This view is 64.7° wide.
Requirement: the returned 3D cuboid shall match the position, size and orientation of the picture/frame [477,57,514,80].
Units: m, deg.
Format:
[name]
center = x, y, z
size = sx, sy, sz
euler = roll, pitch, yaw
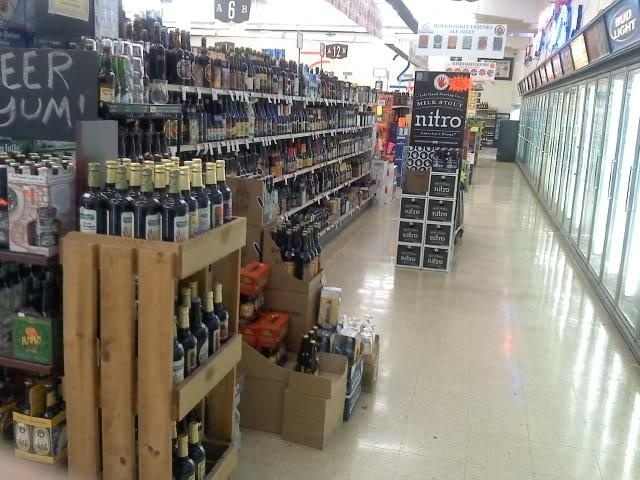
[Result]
[picture/frame]
center = 9.473, -8.967, 26.159
size = 0.810, 1.058, 1.513
euler = 8, 13, 28
